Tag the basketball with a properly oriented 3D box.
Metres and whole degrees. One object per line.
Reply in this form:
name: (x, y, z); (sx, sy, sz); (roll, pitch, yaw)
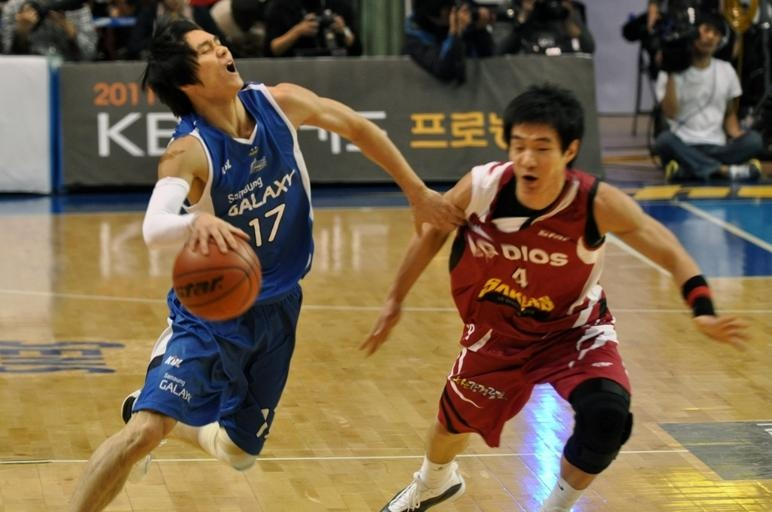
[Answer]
basketball: (-0.785, 0.098, 4.145); (0.392, 0.380, 0.366); (4, 7, -10)
